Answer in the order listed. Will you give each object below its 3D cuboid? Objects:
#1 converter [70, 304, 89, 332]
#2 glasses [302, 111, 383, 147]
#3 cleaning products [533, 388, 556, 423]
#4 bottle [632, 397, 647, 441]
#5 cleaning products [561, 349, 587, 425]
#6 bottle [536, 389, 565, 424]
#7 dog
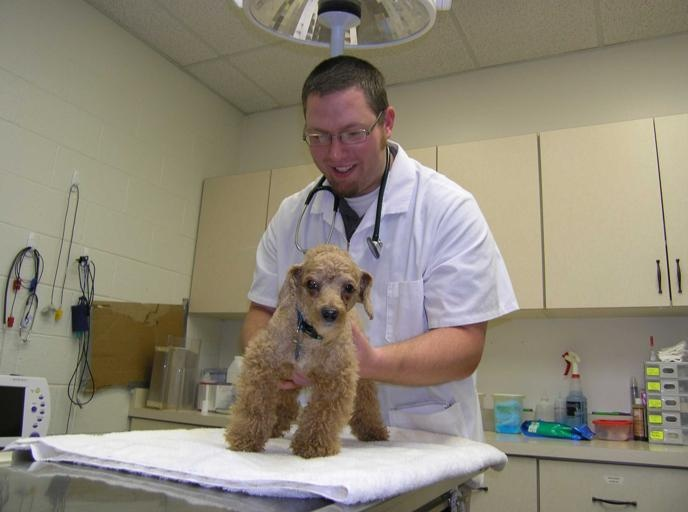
[{"bbox_3d":[-1.549,0.346,3.129,0.093,0.215,0.044,-3,19,-44],"label":"converter"},{"bbox_3d":[-0.021,-0.446,1.851,0.300,0.146,0.144,1,-4,17],"label":"glasses"},{"bbox_3d":[1.225,0.922,3.217,0.131,0.256,0.140,3,-9,7],"label":"cleaning products"},{"bbox_3d":[1.637,0.906,2.930,0.064,0.215,0.117,1,-4,21],"label":"bottle"},{"bbox_3d":[1.389,0.795,3.178,0.146,0.422,0.174,0,-4,24],"label":"cleaning products"},{"bbox_3d":[1.245,0.929,3.198,0.137,0.257,0.136,2,-11,0],"label":"bottle"},{"bbox_3d":[-0.103,0.256,1.626,0.361,0.621,0.602,9,8,8],"label":"dog"}]
